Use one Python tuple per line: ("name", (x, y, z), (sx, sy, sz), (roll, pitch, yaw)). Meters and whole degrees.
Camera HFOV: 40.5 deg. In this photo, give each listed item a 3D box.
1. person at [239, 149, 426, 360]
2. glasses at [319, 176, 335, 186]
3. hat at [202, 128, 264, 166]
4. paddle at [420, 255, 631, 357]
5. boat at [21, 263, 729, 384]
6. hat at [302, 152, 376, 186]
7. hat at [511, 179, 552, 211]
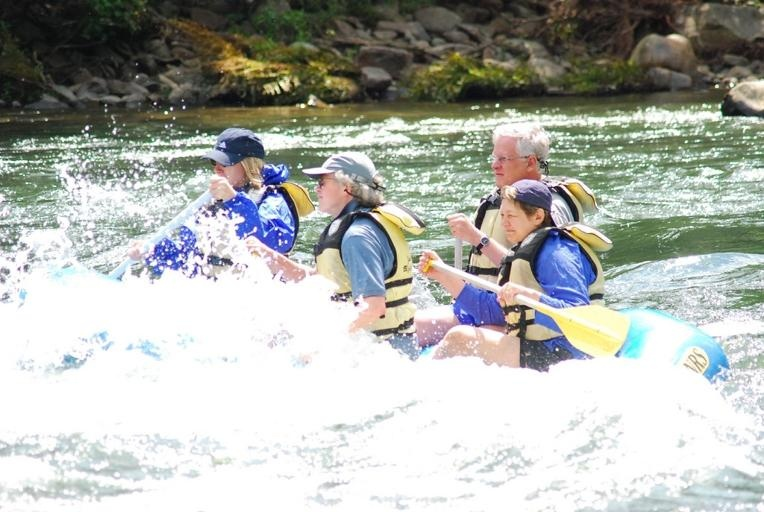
("person", (-0.316, 0.008, 9.861), (1.328, 1.939, 0.687), (1, 12, 32))
("glasses", (-0.539, -0.696, 9.794), (0.098, 0.029, 0.099), (3, -15, -44))
("hat", (-1.513, -1.090, 10.482), (0.539, 0.266, 0.355), (1, 6, -26))
("paddle", (1.455, 0.455, 9.789), (2.320, 0.545, 0.175), (23, 7, 10))
("boat", (0.837, 0.754, 9.990), (4.807, 0.679, 2.314), (1, 13, 8))
("hat", (-0.387, -0.800, 9.808), (0.542, 0.183, 0.337), (3, -5, 4))
("hat", (1.429, -0.558, 9.750), (0.309, 0.176, 0.311), (16, -3, 30))
